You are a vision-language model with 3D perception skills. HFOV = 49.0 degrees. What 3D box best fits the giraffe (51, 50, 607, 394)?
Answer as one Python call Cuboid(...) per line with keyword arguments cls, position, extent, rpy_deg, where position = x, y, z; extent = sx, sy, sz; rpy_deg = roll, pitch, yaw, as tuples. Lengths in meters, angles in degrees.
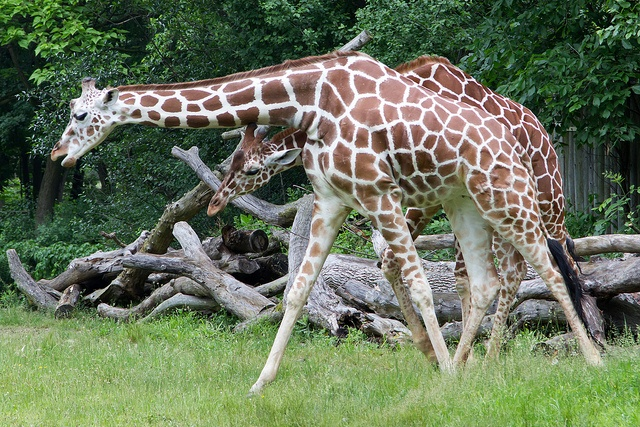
Cuboid(cls="giraffe", position=(0.253, 0.166, 10.169), extent=(7.368, 5.080, 1.891), rpy_deg=(-3, 6, -8))
